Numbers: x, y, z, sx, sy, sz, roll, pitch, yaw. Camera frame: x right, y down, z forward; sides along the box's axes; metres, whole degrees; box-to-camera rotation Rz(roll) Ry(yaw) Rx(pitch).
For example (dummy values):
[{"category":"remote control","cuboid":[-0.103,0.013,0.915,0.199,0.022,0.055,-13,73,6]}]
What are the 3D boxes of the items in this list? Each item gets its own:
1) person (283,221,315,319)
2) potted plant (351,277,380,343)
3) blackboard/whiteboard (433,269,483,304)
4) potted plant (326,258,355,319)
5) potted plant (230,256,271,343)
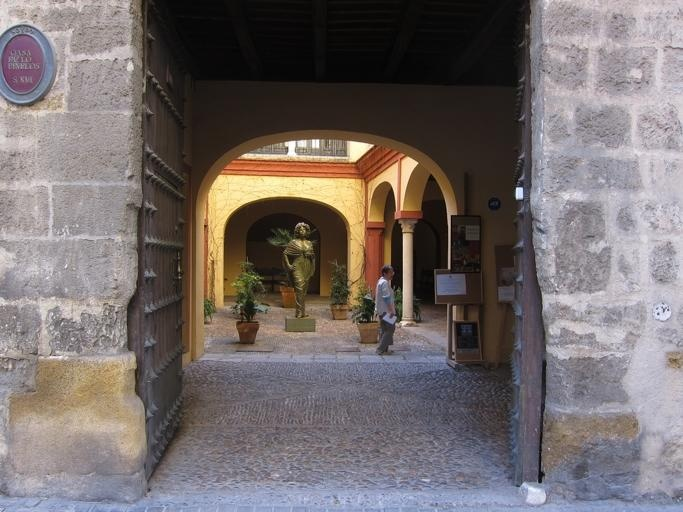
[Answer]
[{"category":"person","cuboid":[-0.790,0.271,11.496,0.574,1.800,1.363,0,2,-5]},{"category":"potted plant","cuboid":[0.405,0.913,9.642,0.503,0.891,0.444,-2,0,-13]},{"category":"blackboard/whiteboard","cuboid":[1.357,0.357,7.475,0.515,0.364,0.051,-1,8,-14]},{"category":"potted plant","cuboid":[-0.006,0.775,12.839,0.388,1.122,0.720,0,1,1]},{"category":"potted plant","cuboid":[-1.392,0.728,9.462,0.601,1.214,0.477,-9,-17,30]}]
